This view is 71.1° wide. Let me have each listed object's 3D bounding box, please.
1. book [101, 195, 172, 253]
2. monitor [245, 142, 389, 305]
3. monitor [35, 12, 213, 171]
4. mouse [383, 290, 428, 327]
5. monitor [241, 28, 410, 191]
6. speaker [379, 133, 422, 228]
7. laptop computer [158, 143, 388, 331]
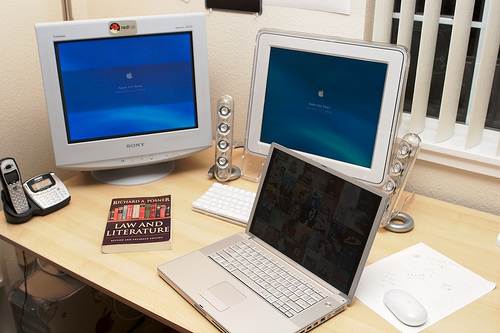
[{"bbox_3d":[-0.383,0.193,1.220,0.247,0.043,0.254,-16,47,-23],"label":"book"},{"bbox_3d":[0.244,0.148,1.200,0.488,0.338,0.417,30,20,19],"label":"monitor"},{"bbox_3d":[-0.477,-0.290,1.367,0.638,0.590,0.228,-7,18,-15],"label":"monitor"},{"bbox_3d":[0.422,0.378,0.959,0.068,0.027,0.094,-15,31,-28],"label":"mouse"},{"bbox_3d":[0.307,-0.207,1.410,0.593,0.625,0.314,18,45,29],"label":"monitor"},{"bbox_3d":[0.528,0.048,1.239,0.082,0.340,0.084,29,27,34],"label":"speaker"},{"bbox_3d":[0.054,0.198,0.979,0.491,0.353,0.426,-19,34,-34],"label":"laptop computer"}]
